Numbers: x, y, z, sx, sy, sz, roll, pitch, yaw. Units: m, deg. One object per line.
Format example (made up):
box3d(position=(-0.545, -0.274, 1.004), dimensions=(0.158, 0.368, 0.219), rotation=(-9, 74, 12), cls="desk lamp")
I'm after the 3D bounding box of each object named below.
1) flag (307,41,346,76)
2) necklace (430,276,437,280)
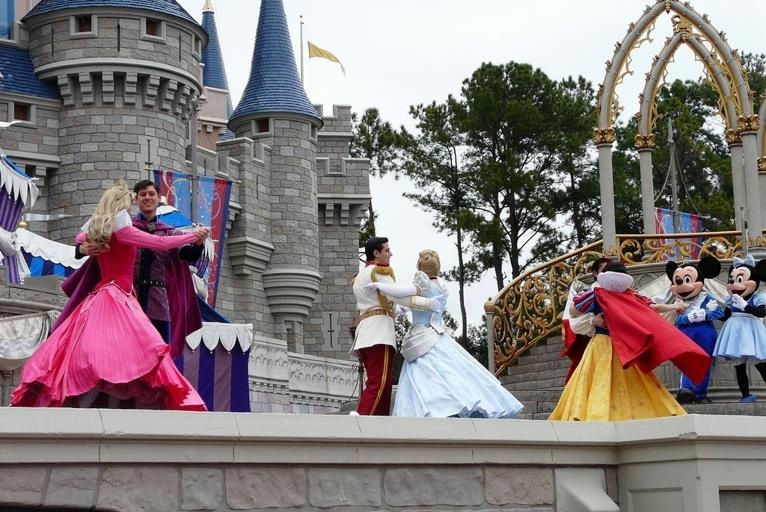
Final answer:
box3d(position=(-1.596, -5.688, 38.618), dimensions=(1.051, 0.111, 1.181), rotation=(2, -39, 6), cls="flag")
box3d(position=(0.520, 0.224, 14.417), dimensions=(0.038, 0.030, 0.039), rotation=(0, 4, -9), cls="necklace")
